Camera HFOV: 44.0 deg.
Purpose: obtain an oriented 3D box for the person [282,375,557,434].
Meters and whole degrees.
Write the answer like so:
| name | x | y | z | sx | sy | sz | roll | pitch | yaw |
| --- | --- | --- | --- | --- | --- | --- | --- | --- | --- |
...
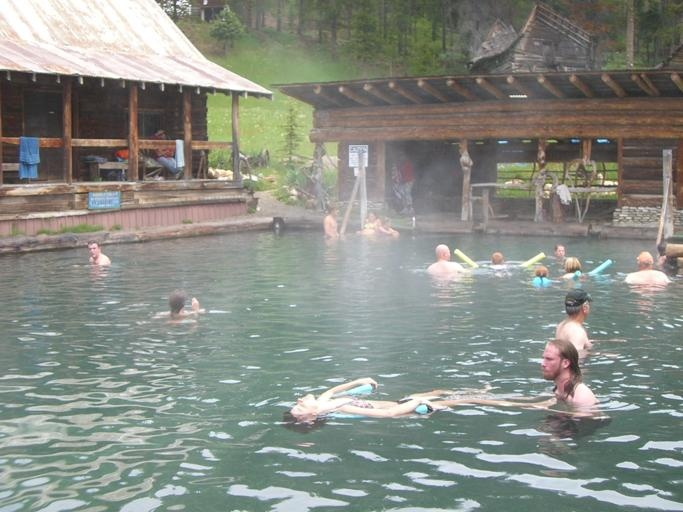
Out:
| name | x | y | z | sx | sy | sz | roll | pitch | yaw |
| --- | --- | --- | --- | --- | --- | --- | --- | --- | --- |
| person | 0.966 | 1.828 | 10.607 | 3.378 | 0.366 | 0.990 | -1 | 5 | -6 |

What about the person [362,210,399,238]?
| name | x | y | z | sx | sy | sz | roll | pitch | yaw |
| --- | --- | --- | --- | --- | --- | --- | --- | --- | --- |
| person | 1.064 | -0.936 | 24.051 | 1.330 | 0.623 | 0.661 | 8 | 16 | 32 |

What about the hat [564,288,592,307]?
| name | x | y | z | sx | sy | sz | roll | pitch | yaw |
| --- | --- | --- | --- | --- | --- | --- | --- | --- | --- |
| hat | 3.339 | 0.583 | 11.884 | 0.318 | 0.236 | 0.207 | 0 | 14 | 3 |
